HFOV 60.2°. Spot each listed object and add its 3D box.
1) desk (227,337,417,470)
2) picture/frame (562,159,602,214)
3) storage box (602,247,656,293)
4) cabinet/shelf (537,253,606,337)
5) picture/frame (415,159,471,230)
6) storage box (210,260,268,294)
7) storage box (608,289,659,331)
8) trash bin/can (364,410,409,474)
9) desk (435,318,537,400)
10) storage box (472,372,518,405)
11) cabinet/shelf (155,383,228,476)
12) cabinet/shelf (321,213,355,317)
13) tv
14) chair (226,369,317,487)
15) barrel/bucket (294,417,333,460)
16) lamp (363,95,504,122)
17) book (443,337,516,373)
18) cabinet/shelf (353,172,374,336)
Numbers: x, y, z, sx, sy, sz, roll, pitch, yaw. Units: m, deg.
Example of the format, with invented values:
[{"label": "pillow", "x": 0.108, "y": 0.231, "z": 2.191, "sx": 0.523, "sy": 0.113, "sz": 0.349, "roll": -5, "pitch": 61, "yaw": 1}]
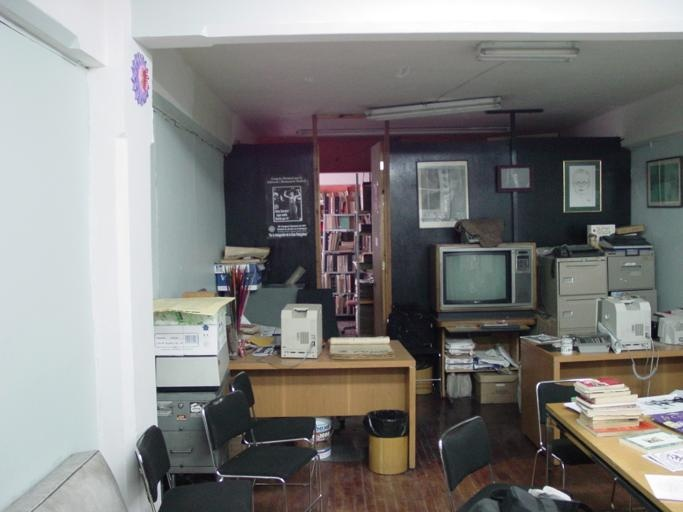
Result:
[{"label": "desk", "x": -0.013, "y": 1.693, "z": 5.531, "sx": 1.713, "sy": 0.941, "sz": 1.401, "roll": -4, "pitch": -36, "yaw": 19}, {"label": "picture/frame", "x": 3.035, "y": -0.916, "z": 7.471, "sx": 0.652, "sy": 0.883, "sz": 0.042, "roll": 0, "pitch": 0, "yaw": -4}, {"label": "storage box", "x": 3.347, "y": 0.128, "z": 6.997, "sx": 0.563, "sy": 0.559, "sz": 0.413, "roll": -2, "pitch": 6, "yaw": 0}, {"label": "cabinet/shelf", "x": 2.618, "y": 0.376, "z": 6.731, "sx": 0.789, "sy": 0.853, "sz": 0.413, "roll": -5, "pitch": 1, "yaw": 26}, {"label": "picture/frame", "x": 1.241, "y": -0.796, "z": 7.360, "sx": 0.875, "sy": 1.146, "sz": 0.073, "roll": -1, "pitch": 0, "yaw": -6}, {"label": "storage box", "x": -1.169, "y": 0.214, "z": 6.666, "sx": 0.377, "sy": 0.239, "sz": 0.385, "roll": 0, "pitch": 3, "yaw": 1}, {"label": "storage box", "x": 2.676, "y": 0.494, "z": 5.441, "sx": 0.328, "sy": 0.336, "sz": 0.237, "roll": 0, "pitch": -2, "yaw": -4}, {"label": "trash bin/can", "x": 0.411, "y": 1.601, "z": 5.123, "sx": 0.367, "sy": 0.470, "sz": 0.423, "roll": -1, "pitch": 0, "yaw": -13}, {"label": "desk", "x": 1.698, "y": 1.145, "z": 7.102, "sx": 1.157, "sy": 0.968, "sz": 1.128, "roll": 1, "pitch": 6, "yaw": 3}, {"label": "storage box", "x": 1.734, "y": 1.464, "z": 6.549, "sx": 0.365, "sy": 0.233, "sz": 0.371, "roll": 0, "pitch": -1, "yaw": 0}, {"label": "cabinet/shelf", "x": -1.175, "y": 1.318, "z": 4.624, "sx": 0.538, "sy": 0.793, "sz": 0.597, "roll": 0, "pitch": 3, "yaw": -1}, {"label": "cabinet/shelf", "x": -0.068, "y": 0.024, "z": 10.119, "sx": 0.700, "sy": 1.336, "sz": 0.458, "roll": -2, "pitch": 2, "yaw": -14}, {"label": "tv", "x": 1.687, "y": 0.256, "z": 6.801, "sx": 1.175, "sy": 0.848, "sz": 0.757, "roll": 0, "pitch": -3, "yaw": -1}, {"label": "chair", "x": -0.521, "y": 1.284, "z": 4.574, "sx": 0.684, "sy": 1.055, "sz": 0.559, "roll": -1, "pitch": 3, "yaw": 6}, {"label": "barrel/bucket", "x": -0.252, "y": 1.663, "z": 5.357, "sx": 0.381, "sy": 0.360, "sz": 0.375, "roll": 2, "pitch": -14, "yaw": 1}, {"label": "lamp", "x": 1.088, "y": -1.780, "z": 7.100, "sx": 1.626, "sy": 0.242, "sz": 0.261, "roll": -5, "pitch": 0, "yaw": 15}, {"label": "book", "x": 1.556, "y": 1.112, "z": 6.724, "sx": 0.784, "sy": 0.338, "sz": 0.316, "roll": -5, "pitch": 0, "yaw": 5}, {"label": "cabinet/shelf", "x": 0.339, "y": -0.076, "z": 9.608, "sx": 0.424, "sy": 2.487, "sz": 0.836, "roll": -5, "pitch": 1, "yaw": 2}]
